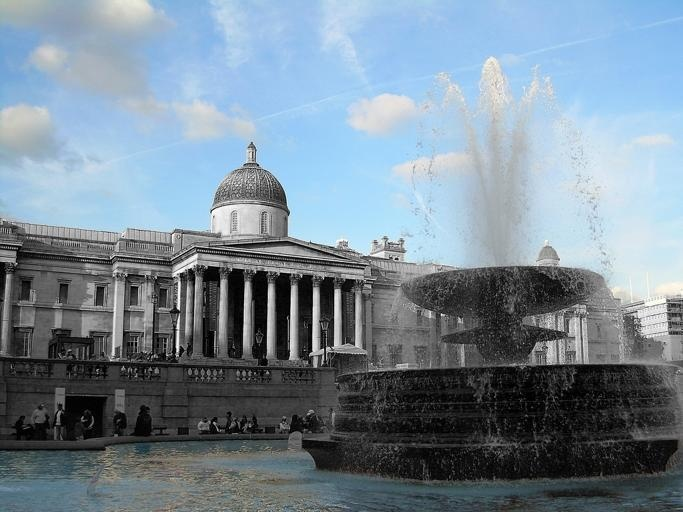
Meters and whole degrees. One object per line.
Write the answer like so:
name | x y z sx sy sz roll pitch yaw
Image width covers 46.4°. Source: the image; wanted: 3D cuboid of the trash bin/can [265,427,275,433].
trash bin/can | -2.969 7.226 33.406 0.408 0.218 0.280 -1 -12 -19

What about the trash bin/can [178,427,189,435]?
trash bin/can | -6.243 6.839 31.358 0.373 0.225 0.368 1 -11 -6
